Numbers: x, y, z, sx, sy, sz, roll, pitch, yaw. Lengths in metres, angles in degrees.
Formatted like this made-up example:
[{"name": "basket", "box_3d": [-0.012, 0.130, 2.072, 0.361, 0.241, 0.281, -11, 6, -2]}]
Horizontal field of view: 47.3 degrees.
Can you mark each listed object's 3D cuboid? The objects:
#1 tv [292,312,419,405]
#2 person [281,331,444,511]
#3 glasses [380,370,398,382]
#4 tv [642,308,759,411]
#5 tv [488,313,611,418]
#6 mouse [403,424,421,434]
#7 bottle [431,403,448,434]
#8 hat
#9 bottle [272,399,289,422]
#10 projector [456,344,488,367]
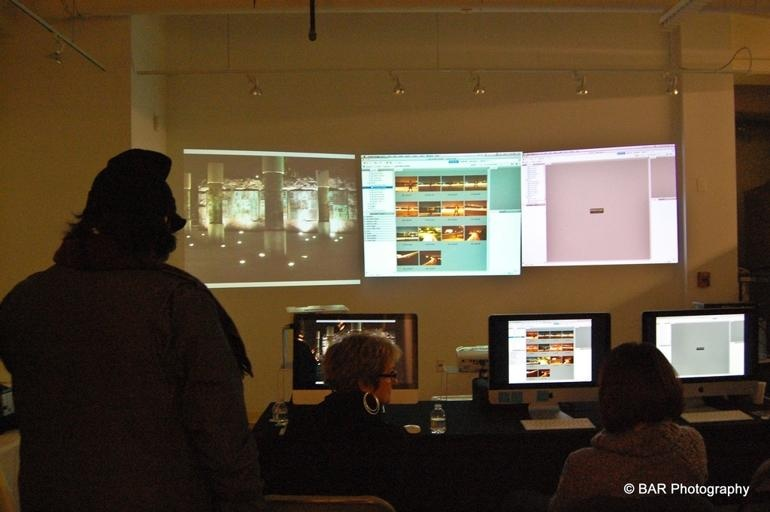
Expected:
[{"name": "tv", "box_3d": [-0.209, 0.762, 6.337, 0.640, 0.461, 0.167, -1, -10, 3]}, {"name": "person", "box_3d": [-0.221, 1.163, 6.000, 0.825, 1.234, 1.119, -1, -2, 14]}, {"name": "glasses", "box_3d": [0.022, 0.852, 6.187, 0.112, 0.037, 0.109, -1, 1, -2]}, {"name": "tv", "box_3d": [2.247, 0.746, 6.330, 0.720, 0.659, 0.327, -1, 1, 0]}, {"name": "tv", "box_3d": [1.190, 0.795, 6.445, 0.726, 0.561, 0.191, 1, -3, -3]}, {"name": "mouse", "box_3d": [0.179, 1.230, 6.215, 0.073, 0.020, 0.101, -2, 5, -12]}, {"name": "bottle", "box_3d": [0.361, 1.179, 6.323, 0.148, 0.247, 0.153, -1, -2, 0]}, {"name": "hat", "box_3d": [-1.547, -0.389, 5.361, 0.457, 0.317, 0.590, 18, -20, -42]}, {"name": "bottle", "box_3d": [-0.780, 1.165, 6.530, 0.133, 0.169, 0.133, 0, -6, 0]}, {"name": "projector", "box_3d": [0.678, 0.775, 6.873, 0.242, 0.127, 0.278, -1, -2, 11]}]
